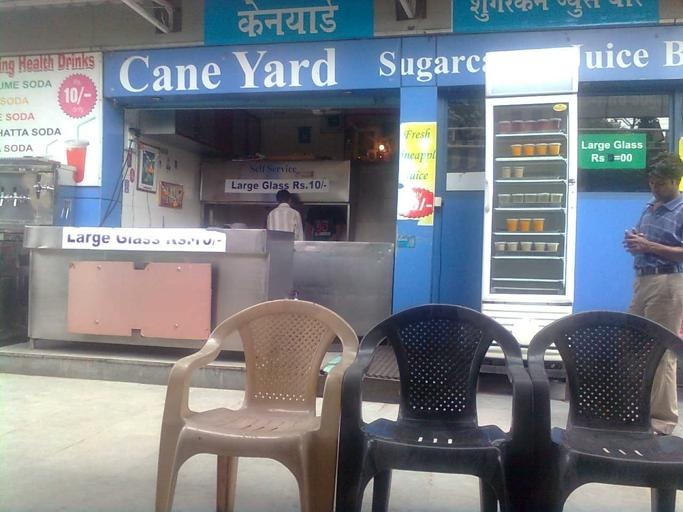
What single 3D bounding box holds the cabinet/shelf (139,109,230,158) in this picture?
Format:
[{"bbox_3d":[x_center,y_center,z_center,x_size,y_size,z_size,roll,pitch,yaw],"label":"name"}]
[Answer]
[{"bbox_3d":[-2.094,-1.657,8.666,0.581,0.587,1.571,3,10,11],"label":"cabinet/shelf"}]
